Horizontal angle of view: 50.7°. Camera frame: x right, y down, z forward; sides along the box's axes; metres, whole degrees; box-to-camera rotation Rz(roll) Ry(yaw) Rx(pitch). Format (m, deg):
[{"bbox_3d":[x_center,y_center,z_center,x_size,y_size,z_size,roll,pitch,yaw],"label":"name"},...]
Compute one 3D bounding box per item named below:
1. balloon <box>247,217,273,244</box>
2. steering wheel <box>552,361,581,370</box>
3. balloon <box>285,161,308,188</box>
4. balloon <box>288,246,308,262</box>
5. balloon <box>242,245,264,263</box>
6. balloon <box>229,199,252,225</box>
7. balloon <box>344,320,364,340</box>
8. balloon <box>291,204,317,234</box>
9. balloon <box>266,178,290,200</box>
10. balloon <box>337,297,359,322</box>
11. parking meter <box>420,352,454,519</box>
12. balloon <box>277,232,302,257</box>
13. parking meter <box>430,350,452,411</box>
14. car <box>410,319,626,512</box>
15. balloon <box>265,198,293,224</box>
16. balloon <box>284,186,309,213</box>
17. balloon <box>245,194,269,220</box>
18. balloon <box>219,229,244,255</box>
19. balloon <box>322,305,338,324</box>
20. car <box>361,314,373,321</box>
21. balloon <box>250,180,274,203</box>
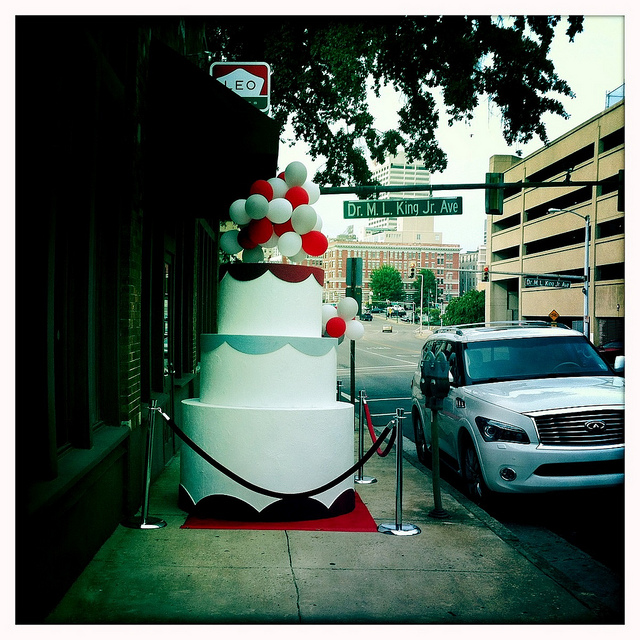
[{"bbox_3d":[-0.629,-0.898,7.017,0.209,0.313,0.220,3,-3,-7],"label":"balloon"},{"bbox_3d":[2.990,0.559,8.223,0.347,0.102,0.133,3,-1,-19],"label":"steering wheel"},{"bbox_3d":[-0.238,-1.518,7.146,0.246,0.203,0.310,2,-1,-17],"label":"balloon"},{"bbox_3d":[-0.222,-0.703,7.301,0.124,0.187,0.142,3,3,8],"label":"balloon"},{"bbox_3d":[-0.724,-0.693,7.231,0.161,0.239,0.175,5,0,37],"label":"balloon"},{"bbox_3d":[-0.864,-1.104,7.122,0.217,0.300,0.216,10,-4,-40],"label":"balloon"},{"bbox_3d":[0.423,0.142,8.174,0.197,0.289,0.217,5,-14,-7],"label":"balloon"},{"bbox_3d":[-0.162,-1.059,7.030,0.277,0.238,0.257,2,-1,-7],"label":"balloon"},{"bbox_3d":[-0.456,-1.377,7.129,0.177,0.273,0.212,-9,-12,-3],"label":"balloon"},{"bbox_3d":[0.331,-0.117,8.003,0.216,0.334,0.243,1,-2,-12],"label":"balloon"},{"bbox_3d":[1.202,1.173,6.944,0.270,1.090,0.461,1,-1,-9],"label":"parking meter"},{"bbox_3d":[-0.309,-0.757,7.062,0.201,0.294,0.221,6,-2,-17],"label":"balloon"},{"bbox_3d":[1.240,0.610,6.896,0.110,0.720,0.202,-3,30,2],"label":"parking meter"},{"bbox_3d":[2.454,1.096,7.768,1.685,2.076,2.503,2,-1,-8],"label":"car"},{"bbox_3d":[-0.403,-1.134,6.957,0.214,0.315,0.232,11,11,8],"label":"balloon"},{"bbox_3d":[-0.246,-1.269,7.110,0.196,0.290,0.218,-2,1,-15],"label":"balloon"},{"bbox_3d":[-0.639,-1.147,6.847,0.193,0.286,0.216,5,13,16],"label":"balloon"},{"bbox_3d":[-0.979,-0.824,7.324,0.212,0.318,0.239,3,-4,12],"label":"balloon"},{"bbox_3d":[0.115,-0.043,8.176,0.175,0.252,0.175,13,-18,-41],"label":"balloon"},{"bbox_3d":[6.986,-0.432,100.178,0.999,0.904,1.750,2,-2,-5],"label":"car"},{"bbox_3d":[-0.597,-1.344,7.003,0.187,0.280,0.205,0,0,10],"label":"balloon"}]
